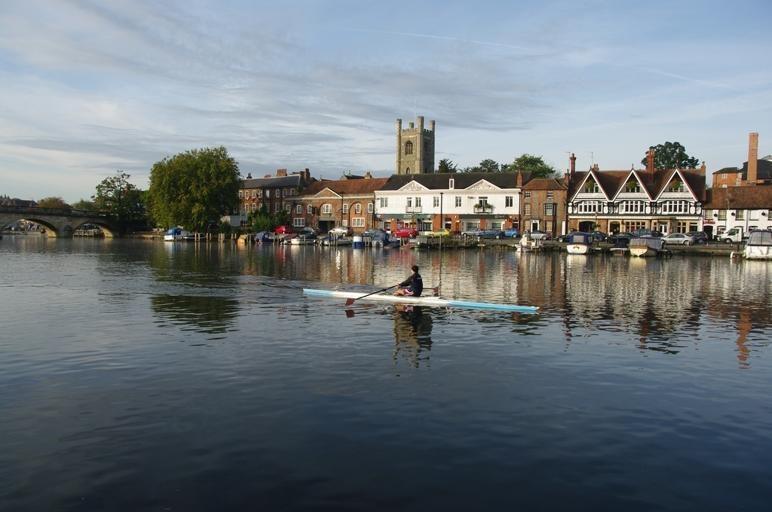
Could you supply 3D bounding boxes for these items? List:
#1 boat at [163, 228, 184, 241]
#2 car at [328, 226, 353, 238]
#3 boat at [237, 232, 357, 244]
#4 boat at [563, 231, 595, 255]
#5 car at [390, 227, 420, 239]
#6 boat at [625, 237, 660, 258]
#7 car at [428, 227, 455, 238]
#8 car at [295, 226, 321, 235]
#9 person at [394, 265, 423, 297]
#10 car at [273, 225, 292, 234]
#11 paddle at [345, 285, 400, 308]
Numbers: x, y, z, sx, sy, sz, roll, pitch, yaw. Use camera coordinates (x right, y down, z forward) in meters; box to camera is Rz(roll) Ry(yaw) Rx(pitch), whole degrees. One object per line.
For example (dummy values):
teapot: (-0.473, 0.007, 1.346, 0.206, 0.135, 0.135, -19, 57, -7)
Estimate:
boat: (-35.357, -3.651, 129.437, 2.946, 2.224, 2.169, -2, 11, -17)
car: (-6.359, -3.475, 109.795, 3.123, 1.223, 1.664, 2, -2, -9)
boat: (-12.645, -2.585, 111.490, 13.471, 1.738, 2.299, -1, 0, 37)
boat: (21.076, -1.312, 84.810, 2.578, 2.288, 3.394, 4, 11, 16)
car: (2.262, -3.040, 104.724, 3.445, 1.102, 1.695, 3, 3, 18)
boat: (27.053, -0.913, 81.302, 3.228, 2.045, 1.877, 4, 11, 13)
car: (6.938, -2.911, 97.958, 2.483, 1.059, 1.413, 3, 4, 21)
car: (-12.064, -4.021, 121.040, 2.242, 0.882, 3.113, -1, -4, 13)
person: (1.254, 1.419, 44.192, 1.297, 1.963, 0.921, 28, 32, 31)
car: (-15.794, -4.055, 118.303, 1.455, 0.939, 2.149, -3, 7, -39)
paddle: (-0.705, 2.095, 40.107, 3.309, 0.435, 0.314, -12, 17, 5)
